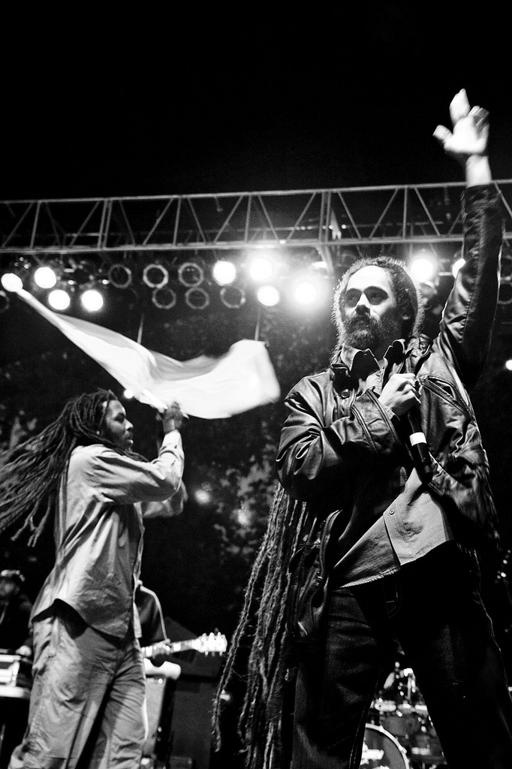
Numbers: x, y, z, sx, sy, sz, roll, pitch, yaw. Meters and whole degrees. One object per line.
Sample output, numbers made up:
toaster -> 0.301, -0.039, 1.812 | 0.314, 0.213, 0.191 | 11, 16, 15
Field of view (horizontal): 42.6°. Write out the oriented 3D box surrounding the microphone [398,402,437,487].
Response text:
microphone -> 0.328, 0.127, 1.365 | 0.038, 0.176, 0.046 | -20, -54, 11
